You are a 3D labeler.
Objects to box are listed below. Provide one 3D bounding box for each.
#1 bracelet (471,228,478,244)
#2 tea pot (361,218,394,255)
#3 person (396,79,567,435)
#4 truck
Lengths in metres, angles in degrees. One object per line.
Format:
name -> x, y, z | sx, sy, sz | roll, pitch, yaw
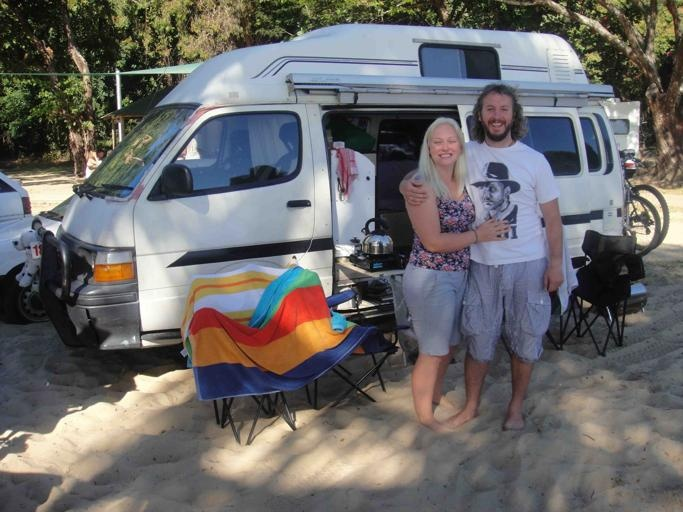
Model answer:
bracelet -> 1.012, -0.146, 4.517 | 0.027, 0.087, 0.090 | 4, 5, -3
tea pot -> 0.368, -0.179, 6.090 | 0.260, 0.369, 0.405 | -1, 1, -32
person -> 1.278, 0.042, 4.632 | 0.812, 2.679, 0.440 | 0, 9, 21
truck -> -0.026, -0.988, 7.499 | 6.540, 3.307, 3.012 | -4, 8, -23
